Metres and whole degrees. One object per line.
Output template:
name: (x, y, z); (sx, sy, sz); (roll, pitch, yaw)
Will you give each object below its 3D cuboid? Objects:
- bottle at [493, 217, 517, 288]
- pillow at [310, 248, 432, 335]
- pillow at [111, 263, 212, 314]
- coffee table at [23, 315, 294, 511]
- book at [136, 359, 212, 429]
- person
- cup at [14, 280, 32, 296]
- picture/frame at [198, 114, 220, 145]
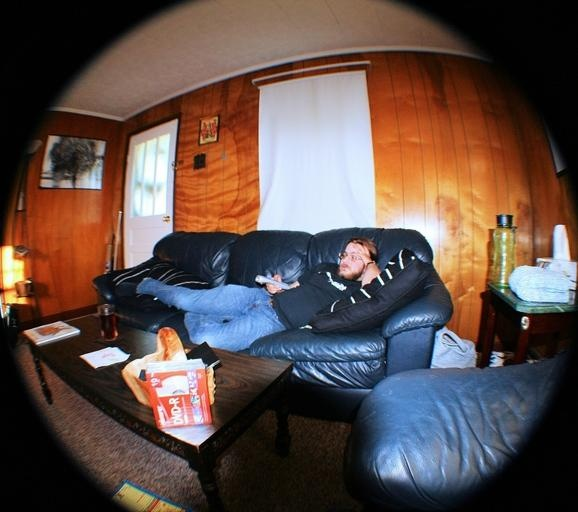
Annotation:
bottle: (1.288, -0.036, 2.600); (0.122, 0.287, 0.362); (-1, 1, 25)
pillow: (0.414, 0.181, 2.238); (0.655, 0.327, 0.264); (-1, 1, 8)
pillow: (-0.926, 0.167, 2.906); (0.380, 0.102, 0.377); (10, 17, 30)
coffee table: (-0.482, 0.593, 1.831); (1.410, 0.444, 0.636); (8, 19, 34)
book: (-0.420, 0.518, 1.794); (0.291, 0.255, 0.268); (-6, 13, -2)
person: (-0.198, 0.266, 2.417); (1.248, 0.459, 0.596); (10, 26, 3)
cup: (-2.077, 0.270, 3.418); (0.140, 0.097, 0.105); (3, -5, -21)
picture/frame: (-0.684, -1.085, 3.727); (0.315, 0.278, 0.033); (4, -4, 39)
